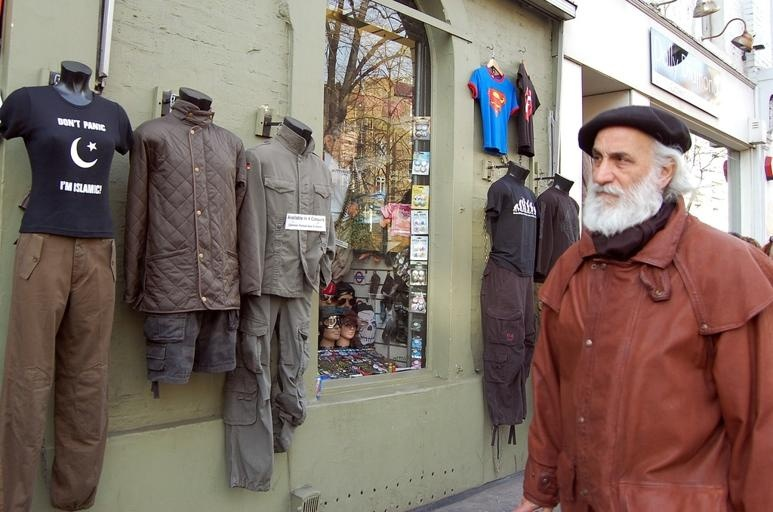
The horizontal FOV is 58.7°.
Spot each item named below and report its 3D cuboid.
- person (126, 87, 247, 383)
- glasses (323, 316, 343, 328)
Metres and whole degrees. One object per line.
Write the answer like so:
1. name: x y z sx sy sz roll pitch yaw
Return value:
1. person: -1.242 -0.129 4.314 0.728 1.827 0.226 1 -1 -22
2. glasses: -0.440 0.547 5.645 0.098 0.035 0.104 -29 -25 30
